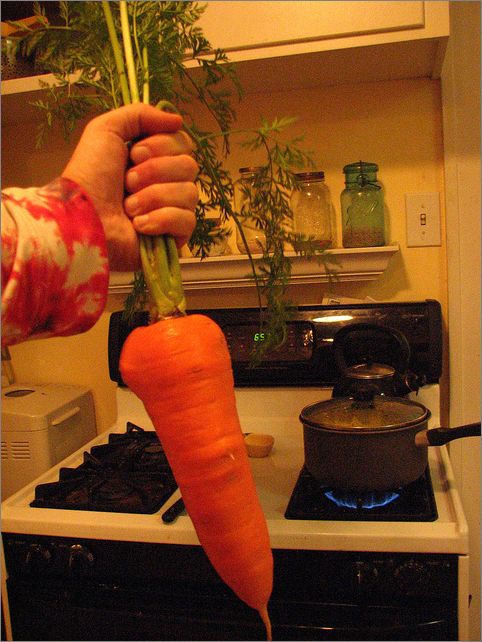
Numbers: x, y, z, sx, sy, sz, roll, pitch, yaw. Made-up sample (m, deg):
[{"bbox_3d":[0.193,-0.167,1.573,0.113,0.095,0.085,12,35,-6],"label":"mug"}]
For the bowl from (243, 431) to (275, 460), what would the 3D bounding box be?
[{"bbox_3d":[0.034,0.243,1.023,0.054,0.031,0.085,0,-2,0],"label":"bowl"}]

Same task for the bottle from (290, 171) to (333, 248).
[{"bbox_3d":[0.171,-0.250,1.238,0.095,0.190,0.098,-2,-7,0],"label":"bottle"}]

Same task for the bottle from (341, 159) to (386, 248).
[{"bbox_3d":[0.289,-0.295,1.222,0.110,0.208,0.112,-4,41,4],"label":"bottle"}]

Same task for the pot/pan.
[{"bbox_3d":[0.222,0.153,0.753,0.218,0.093,0.138,0,3,19],"label":"pot/pan"}]
